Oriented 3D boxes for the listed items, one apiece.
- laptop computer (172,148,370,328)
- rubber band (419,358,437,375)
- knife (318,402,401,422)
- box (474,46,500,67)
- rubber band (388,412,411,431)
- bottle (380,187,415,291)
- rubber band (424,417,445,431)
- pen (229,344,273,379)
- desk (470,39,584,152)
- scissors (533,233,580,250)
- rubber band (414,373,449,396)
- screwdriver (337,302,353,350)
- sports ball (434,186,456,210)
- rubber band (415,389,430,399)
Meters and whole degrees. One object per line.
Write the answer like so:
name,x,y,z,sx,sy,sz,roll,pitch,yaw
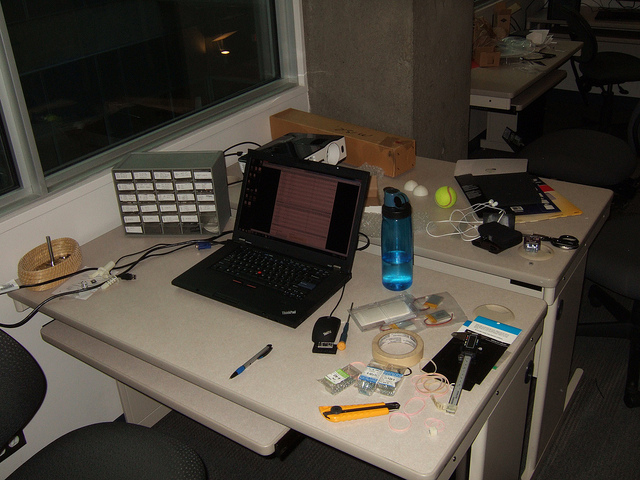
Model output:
laptop computer,-0.079,-0.016,1.649,0.632,0.412,0.563,20,43,25
rubber band,0.277,0.327,1.266,0.041,0.008,0.061,5,29,11
knife,0.091,0.405,1.156,0.238,0.033,0.062,-3,18,1
box,1.138,-1.252,3.365,0.146,0.088,0.142,12,39,23
rubber band,0.185,0.424,1.140,0.050,0.004,0.050,3,29,6
bottle,0.249,-0.019,1.540,0.109,0.295,0.216,4,29,9
rubber band,0.265,0.425,1.130,0.047,0.003,0.027,14,32,25
pen,-0.177,0.322,1.304,0.037,0.015,0.171,8,31,41
desk,1.417,-1.013,3.442,0.700,0.798,1.342,17,34,26
scissors,0.778,0.008,1.609,0.116,0.014,0.058,9,29,18
rubber band,0.278,0.358,1.217,0.080,0.016,0.061,7,29,14
screwdriver,0.068,0.260,1.368,0.015,0.017,0.103,9,38,11
sports ball,0.478,-0.156,1.880,0.080,0.080,0.078,-14,54,19
rubber band,0.248,0.377,1.197,0.033,0.006,0.027,2,29,5
